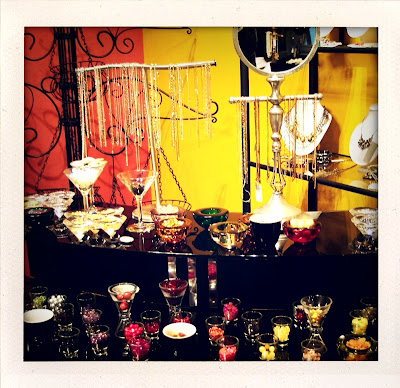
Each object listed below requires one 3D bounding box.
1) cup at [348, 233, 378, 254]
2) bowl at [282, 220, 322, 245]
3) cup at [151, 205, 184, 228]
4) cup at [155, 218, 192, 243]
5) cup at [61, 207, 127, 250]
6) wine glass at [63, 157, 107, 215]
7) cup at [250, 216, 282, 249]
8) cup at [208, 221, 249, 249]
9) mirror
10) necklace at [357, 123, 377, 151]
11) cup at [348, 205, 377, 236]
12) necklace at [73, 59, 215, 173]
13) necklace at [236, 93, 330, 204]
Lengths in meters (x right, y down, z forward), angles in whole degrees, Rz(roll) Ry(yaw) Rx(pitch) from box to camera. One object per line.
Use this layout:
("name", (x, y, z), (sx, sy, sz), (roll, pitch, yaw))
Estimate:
("cup", (0.643, 0.194, 1.779), (0.100, 0.064, 0.169), (3, 5, 29))
("bowl", (0.419, 0.152, 1.818), (0.169, 0.095, 0.115), (0, 4, -7))
("cup", (-0.145, 0.090, 1.975), (0.097, 0.046, 0.096), (0, 9, 0))
("cup", (-0.111, 0.146, 1.842), (0.107, 0.066, 0.111), (0, 1, 0))
("cup", (-0.472, 0.130, 2.017), (0.278, 0.126, 0.237), (0, 5, -8))
("wine glass", (-0.483, -0.041, 1.999), (0.159, 0.243, 0.233), (1, 4, 7))
("cup", (0.259, 0.150, 1.776), (0.108, 0.104, 0.121), (0, 1, -1))
("cup", (0.113, 0.153, 1.818), (0.114, 0.064, 0.115), (0, 3, 0))
("mirror", (0.334, -0.396, 2.073), (0.379, 0.729, 0.487), (1, 4, 7))
("necklace", (0.842, -0.295, 2.278), (0.054, 0.104, 0.099), (13, 1, -30))
("cup", (0.668, 0.110, 1.858), (0.083, 0.107, 0.183), (-2, 5, -24))
("necklace", (-0.332, -0.510, 2.798), (0.779, 0.584, 0.068), (-1, 7, -2))
("necklace", (0.438, -0.204, 2.223), (0.531, 0.536, 0.508), (-2, 8, -17))
